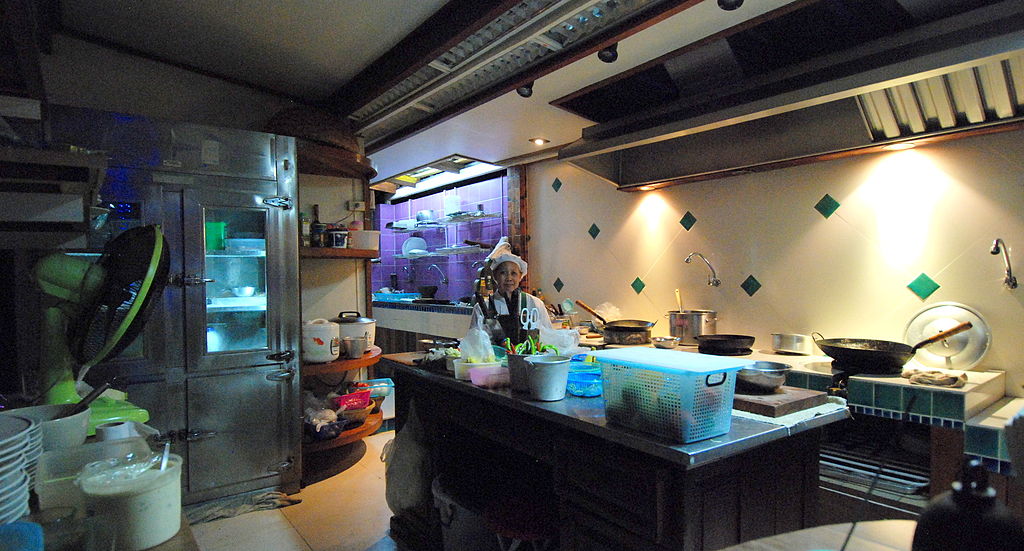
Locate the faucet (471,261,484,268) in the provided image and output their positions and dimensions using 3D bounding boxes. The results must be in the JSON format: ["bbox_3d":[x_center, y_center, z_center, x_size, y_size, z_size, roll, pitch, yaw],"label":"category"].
[{"bbox_3d":[-0.447,-0.143,7.776,0.159,0.127,0.044,-4,2,-19],"label":"faucet"}]

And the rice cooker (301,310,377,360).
[{"bbox_3d":[-1.486,0.504,5.501,0.521,0.373,0.591,0,0,42],"label":"rice cooker"}]

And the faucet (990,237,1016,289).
[{"bbox_3d":[3.566,-0.091,4.567,0.169,0.373,0.068,1,0,5],"label":"faucet"}]

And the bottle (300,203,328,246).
[{"bbox_3d":[-1.834,-0.474,5.802,0.218,0.375,0.425,1,0,-19],"label":"bottle"}]

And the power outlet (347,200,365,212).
[{"bbox_3d":[-1.535,-0.679,6.204,0.221,0.117,0.111,0,1,-44],"label":"power outlet"}]

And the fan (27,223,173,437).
[{"bbox_3d":[-2.541,0.274,3.864,0.934,1.193,0.906,9,-4,-37],"label":"fan"}]

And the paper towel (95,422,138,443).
[{"bbox_3d":[-2.299,0.870,3.624,0.169,0.098,0.154,0,-1,-26],"label":"paper towel"}]

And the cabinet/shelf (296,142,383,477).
[{"bbox_3d":[-1.666,0.238,5.909,0.793,2.789,0.783,2,6,-17],"label":"cabinet/shelf"}]

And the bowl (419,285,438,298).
[{"bbox_3d":[-1.107,0.197,8.264,0.210,0.113,0.185,0,-2,0],"label":"bowl"}]

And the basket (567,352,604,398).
[{"bbox_3d":[0.456,0.633,4.054,0.318,0.238,0.284,3,-7,-17],"label":"basket"}]

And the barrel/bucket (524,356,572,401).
[{"bbox_3d":[0.204,0.645,3.973,0.361,0.219,0.328,-2,-4,8],"label":"barrel/bucket"}]

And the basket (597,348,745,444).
[{"bbox_3d":[1.012,0.706,3.814,0.679,0.442,0.970,3,-3,-28],"label":"basket"}]

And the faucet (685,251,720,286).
[{"bbox_3d":[1.778,-0.079,5.743,0.370,0.330,0.241,1,-1,8],"label":"faucet"}]

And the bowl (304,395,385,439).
[{"bbox_3d":[-1.554,1.228,5.570,0.552,0.338,0.244,1,0,-10],"label":"bowl"}]
